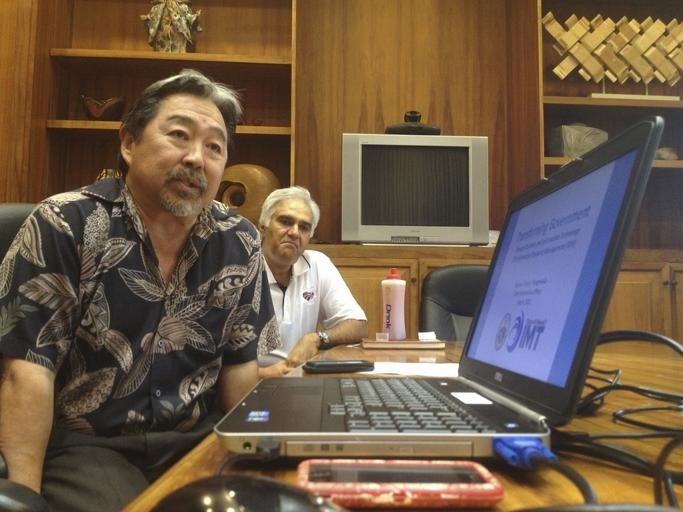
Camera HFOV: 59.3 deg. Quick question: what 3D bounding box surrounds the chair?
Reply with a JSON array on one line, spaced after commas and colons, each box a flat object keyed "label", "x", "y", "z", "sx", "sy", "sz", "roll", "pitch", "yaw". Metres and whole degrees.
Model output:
[{"label": "chair", "x": 0.472, "y": 0.187, "z": 2.405, "sx": 0.225, "sy": 0.362, "sz": 0.294, "roll": 7, "pitch": -4, "yaw": -1}]

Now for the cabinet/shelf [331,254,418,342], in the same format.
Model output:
[{"label": "cabinet/shelf", "x": 0.120, "y": 0.180, "z": 2.585, "sx": 0.312, "sy": 0.366, "sz": 0.125, "roll": -5, "pitch": -15, "yaw": -15}]

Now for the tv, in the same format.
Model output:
[{"label": "tv", "x": 0.377, "y": -0.373, "z": 3.229, "sx": 0.909, "sy": 0.771, "sz": 0.527, "roll": 1, "pitch": -2, "yaw": 0}]

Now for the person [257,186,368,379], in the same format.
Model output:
[{"label": "person", "x": -0.252, "y": 0.104, "z": 2.540, "sx": 0.570, "sy": 0.838, "sz": 0.528, "roll": 4, "pitch": -11, "yaw": -25}]

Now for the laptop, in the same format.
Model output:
[{"label": "laptop", "x": 0.170, "y": 0.153, "z": 1.183, "sx": 0.555, "sy": 0.509, "sz": 0.668, "roll": 2, "pitch": -1, "yaw": -2}]

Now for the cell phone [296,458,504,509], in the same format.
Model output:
[{"label": "cell phone", "x": 0.086, "y": 0.330, "z": 0.872, "sx": 0.211, "sy": 0.035, "sz": 0.115, "roll": 1, "pitch": -1, "yaw": 0}]

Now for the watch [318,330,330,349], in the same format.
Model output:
[{"label": "watch", "x": -0.066, "y": 0.318, "z": 2.275, "sx": 0.055, "sy": 0.065, "sz": 0.039, "roll": -25, "pitch": -17, "yaw": 31}]
